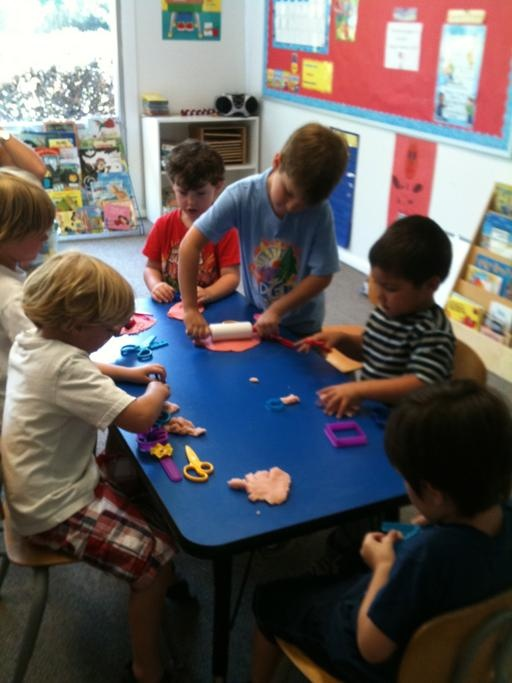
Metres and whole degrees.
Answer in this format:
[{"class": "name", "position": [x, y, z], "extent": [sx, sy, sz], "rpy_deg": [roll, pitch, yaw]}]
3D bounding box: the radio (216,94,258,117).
[{"class": "radio", "position": [-0.165, -1.919, 4.245], "extent": [0.330, 0.165, 0.134], "rpy_deg": [-1, 28, -4]}]

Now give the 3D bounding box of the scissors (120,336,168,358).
[{"class": "scissors", "position": [-0.262, 0.015, 1.230], "extent": [0.063, 0.012, 0.054], "rpy_deg": [-16, 26, -31]}]
